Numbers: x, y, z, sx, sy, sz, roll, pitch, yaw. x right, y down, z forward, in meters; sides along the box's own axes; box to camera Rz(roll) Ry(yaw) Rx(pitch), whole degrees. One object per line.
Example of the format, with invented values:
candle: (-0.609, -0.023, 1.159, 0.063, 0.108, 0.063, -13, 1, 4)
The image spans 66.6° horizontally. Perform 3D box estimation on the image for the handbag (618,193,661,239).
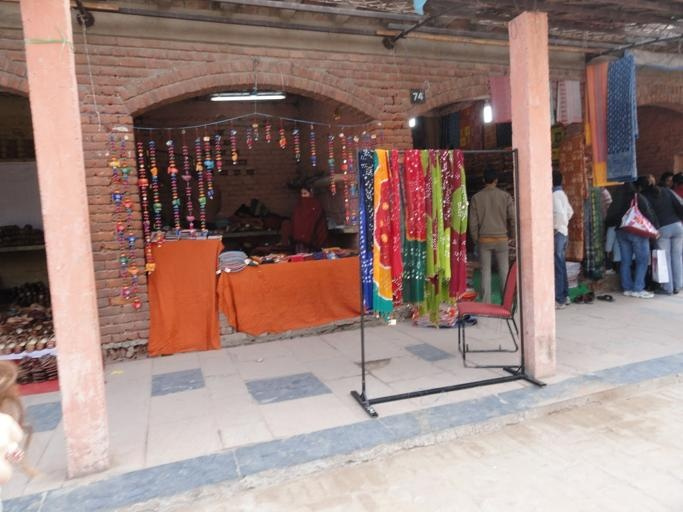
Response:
handbag: (4.821, -0.609, 8.318, 0.684, 0.565, 0.237, 17, -3, -17)

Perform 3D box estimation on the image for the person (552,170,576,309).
person: (3.325, -0.256, 7.879, 0.257, 1.969, 0.638, 4, 15, 30)

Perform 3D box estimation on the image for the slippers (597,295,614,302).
slippers: (4.234, 0.600, 8.338, 0.252, 0.052, 0.272, 2, 11, 22)

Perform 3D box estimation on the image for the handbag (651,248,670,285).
handbag: (5.215, 0.149, 8.456, 0.273, 0.559, 0.320, 0, 13, 18)
